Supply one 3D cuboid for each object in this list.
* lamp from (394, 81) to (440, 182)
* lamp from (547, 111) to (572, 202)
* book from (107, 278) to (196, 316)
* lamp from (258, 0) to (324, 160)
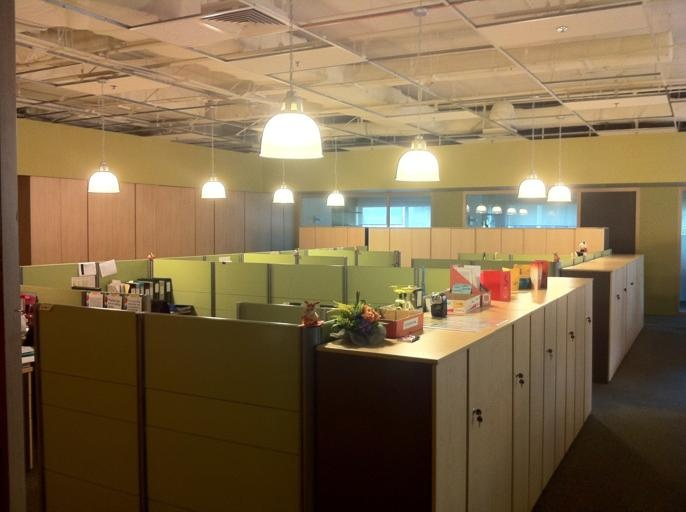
[{"bbox_3d":[0.620,-0.834,4.930,0.349,0.403,0.563,-2,8,7],"label":"lamp"},{"bbox_3d":[3.111,-1.345,8.451,0.301,1.154,0.312,1,-6,22],"label":"lamp"},{"bbox_3d":[-1.868,0.382,5.736,0.281,0.275,0.422,0,2,18],"label":"book"},{"bbox_3d":[-0.350,-0.978,3.663,0.352,0.724,0.288,2,9,32],"label":"lamp"}]
